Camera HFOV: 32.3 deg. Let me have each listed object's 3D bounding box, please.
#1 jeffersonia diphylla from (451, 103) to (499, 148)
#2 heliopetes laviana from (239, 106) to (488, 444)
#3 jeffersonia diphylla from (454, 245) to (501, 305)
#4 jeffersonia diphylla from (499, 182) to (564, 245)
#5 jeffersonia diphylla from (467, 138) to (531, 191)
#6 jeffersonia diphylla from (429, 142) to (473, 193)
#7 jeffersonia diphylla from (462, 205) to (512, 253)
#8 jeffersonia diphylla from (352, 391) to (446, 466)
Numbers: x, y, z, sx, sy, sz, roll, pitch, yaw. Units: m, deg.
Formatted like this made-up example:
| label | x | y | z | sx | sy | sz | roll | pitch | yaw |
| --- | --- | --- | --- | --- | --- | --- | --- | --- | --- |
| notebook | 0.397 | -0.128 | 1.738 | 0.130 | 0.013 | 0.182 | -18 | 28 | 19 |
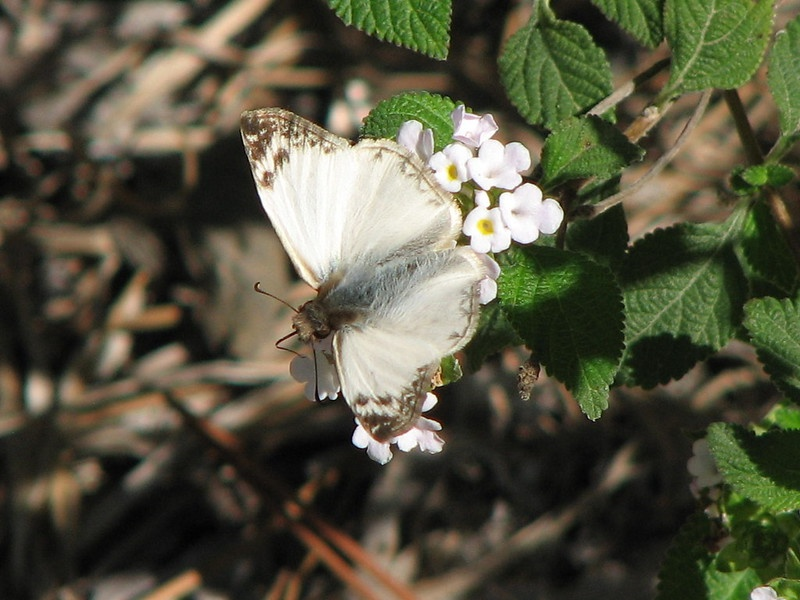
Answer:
| label | x | y | z | sx | sy | sz | roll | pitch | yaw |
| --- | --- | --- | --- | --- | --- | --- | --- | --- | --- |
| jeffersonia diphylla | 0.282 | -0.656 | 5.384 | 0.167 | 0.096 | 0.170 | 41 | 60 | 16 |
| heliopetes laviana | -0.055 | -0.014 | 5.642 | 0.863 | 1.408 | 0.808 | -4 | 71 | 15 |
| jeffersonia diphylla | 0.321 | -0.117 | 5.315 | 0.107 | 0.074 | 0.229 | -23 | 83 | -10 |
| jeffersonia diphylla | 0.491 | -0.311 | 5.386 | 0.227 | 0.275 | 0.214 | -29 | 83 | -11 |
| jeffersonia diphylla | 0.378 | -0.501 | 5.296 | 0.235 | 0.103 | 0.188 | 9 | 78 | -5 |
| jeffersonia diphylla | 0.223 | -0.507 | 5.312 | 0.176 | 0.098 | 0.160 | -30 | 84 | -11 |
| jeffersonia diphylla | 0.330 | -0.271 | 5.280 | 0.188 | 0.051 | 0.206 | -1 | 24 | -6 |
| jeffersonia diphylla | 0.011 | 0.520 | 5.466 | 0.300 | 0.318 | 0.385 | -5 | 27 | -12 |
